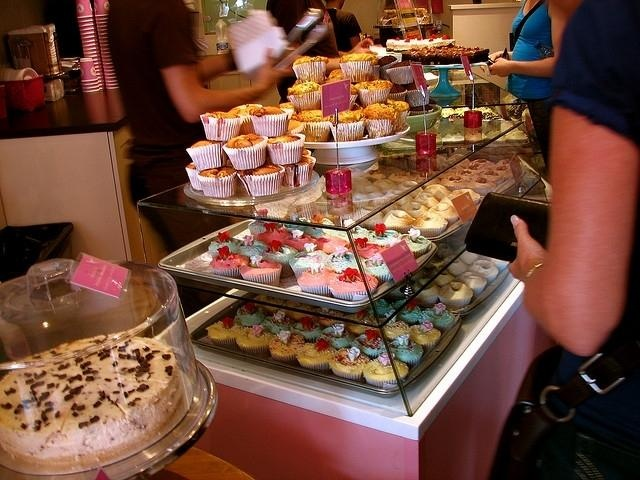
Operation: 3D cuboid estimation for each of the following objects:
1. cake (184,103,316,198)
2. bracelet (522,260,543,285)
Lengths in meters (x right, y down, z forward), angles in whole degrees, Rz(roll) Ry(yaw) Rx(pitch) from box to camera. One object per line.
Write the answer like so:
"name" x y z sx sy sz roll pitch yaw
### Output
"cake" -0.196 -0.271 1.477 0.411 0.224 0.292 -12 29 -17
"bracelet" 0.396 0.060 0.832 0.011 0.041 0.042 41 40 0
